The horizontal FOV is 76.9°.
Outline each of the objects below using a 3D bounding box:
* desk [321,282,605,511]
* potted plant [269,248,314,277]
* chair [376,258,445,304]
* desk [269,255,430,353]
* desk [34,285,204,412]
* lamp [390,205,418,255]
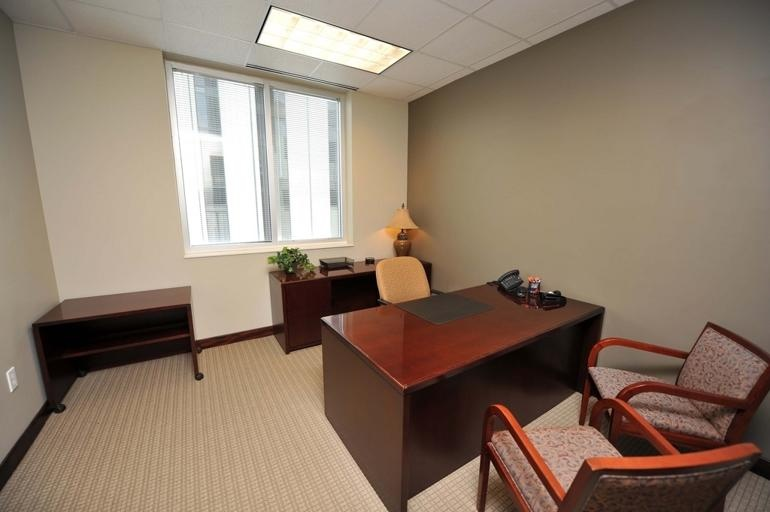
[{"bbox_3d":[0.347,0.724,3.969,2.492,1.256,1.352,-11,25,-29],"label":"desk"},{"bbox_3d":[-0.979,0.049,5.121,0.337,0.268,0.379,26,25,37],"label":"potted plant"},{"bbox_3d":[0.206,0.189,4.740,0.439,0.672,0.447,-6,9,-26],"label":"chair"},{"bbox_3d":[-0.423,0.491,5.535,1.750,0.813,0.556,-9,18,-35],"label":"desk"},{"bbox_3d":[-2.417,0.841,4.579,1.234,0.888,0.717,-7,17,-19],"label":"desk"},{"bbox_3d":[0.229,-0.297,5.834,0.388,0.648,0.438,-6,11,-16],"label":"lamp"}]
